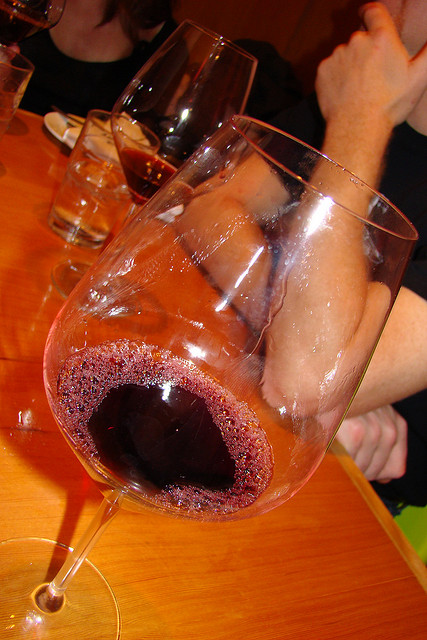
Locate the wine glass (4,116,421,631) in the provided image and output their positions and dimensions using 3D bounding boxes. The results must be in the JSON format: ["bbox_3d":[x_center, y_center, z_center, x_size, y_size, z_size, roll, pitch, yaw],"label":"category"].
[{"bbox_3d":[0.004,0.002,0.241,0.135,0.143,0.137,29,44,12],"label":"wine glass"}]
